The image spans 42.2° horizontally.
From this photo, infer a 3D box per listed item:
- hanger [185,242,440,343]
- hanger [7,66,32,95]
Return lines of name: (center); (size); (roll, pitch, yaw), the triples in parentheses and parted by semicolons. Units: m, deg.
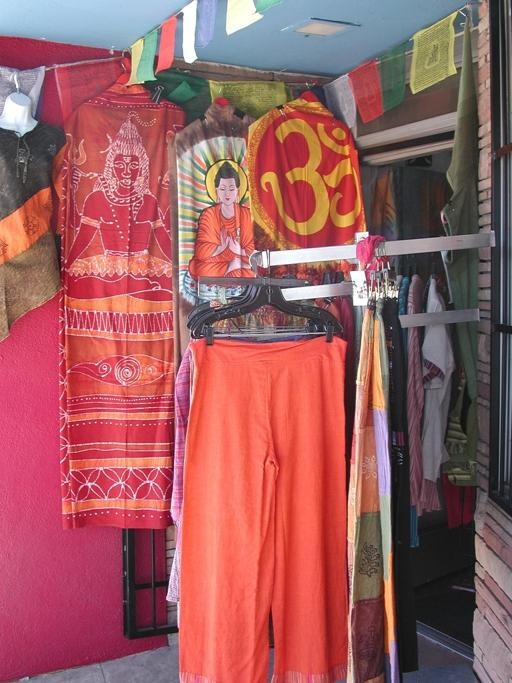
hanger: (0.203, -0.138, 1.923); (0.702, 0.264, 0.696); (-5, 4, 20)
hanger: (-0.757, -0.842, 2.142); (0.038, 0.080, 0.080); (-3, 6, 1)
